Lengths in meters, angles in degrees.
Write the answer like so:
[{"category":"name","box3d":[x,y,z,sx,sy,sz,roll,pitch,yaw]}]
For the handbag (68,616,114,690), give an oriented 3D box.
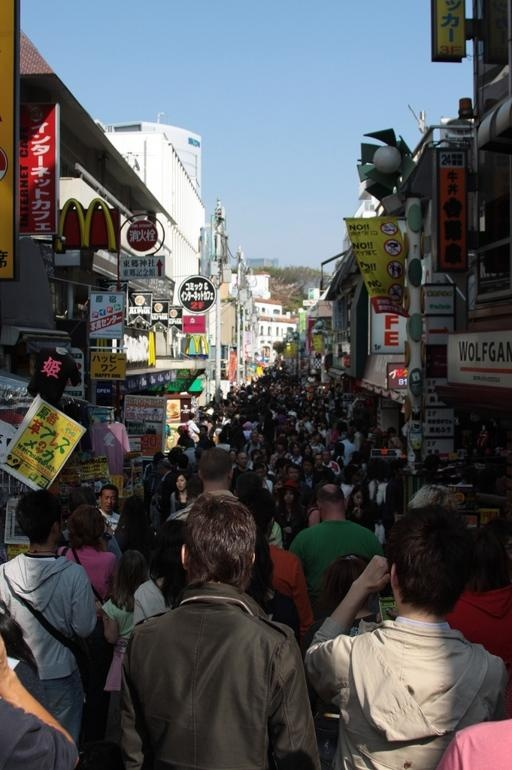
[{"category":"handbag","box3d":[-0.979,1.668,4.280,0.158,0.482,0.786,2,0,-6]}]
